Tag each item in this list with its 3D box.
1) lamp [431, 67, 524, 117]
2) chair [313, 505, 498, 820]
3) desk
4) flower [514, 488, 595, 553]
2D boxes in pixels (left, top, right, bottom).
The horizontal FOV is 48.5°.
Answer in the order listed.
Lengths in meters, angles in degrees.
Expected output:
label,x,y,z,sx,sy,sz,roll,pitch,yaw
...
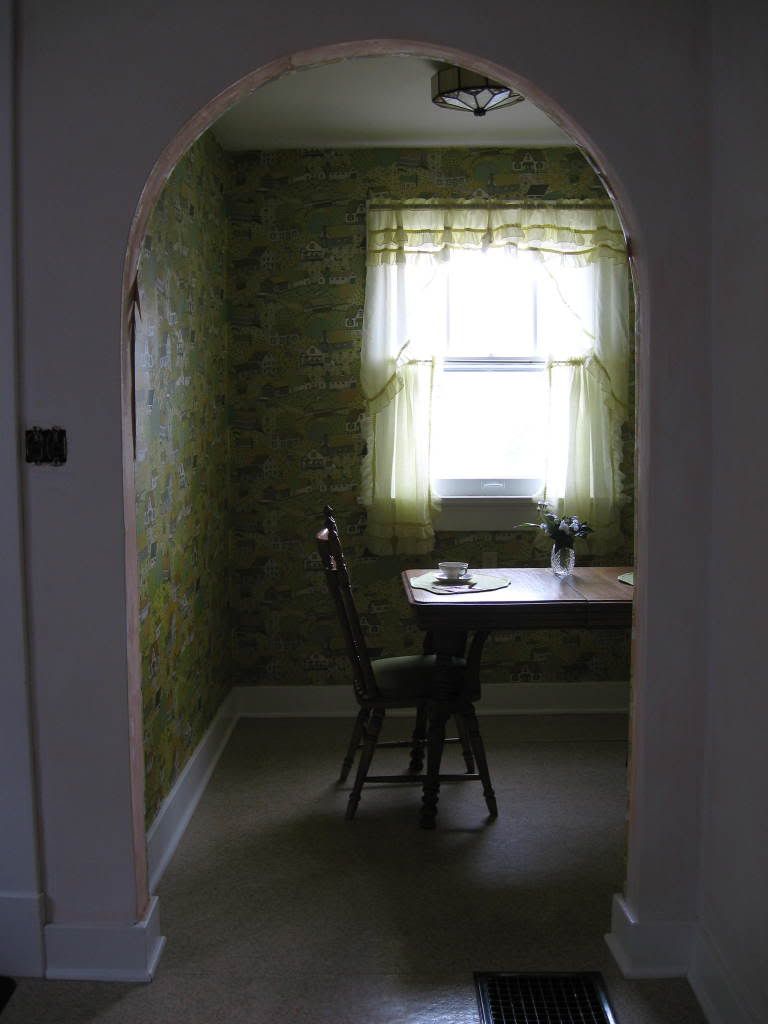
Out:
label,x,y,z,sx,sy,sz,roll,pitch,yaw
lamp,0.316,-1.397,2.801,0.318,0.115,0.343,-1,4,0
chair,0.112,0.533,3.391,0.910,1.427,0.775,-2,2,-2
desk,0.467,0.600,3.002,0.774,0.719,0.755,-1,4,0
flower,0.659,0.029,3.297,0.251,0.173,0.251,6,4,1
